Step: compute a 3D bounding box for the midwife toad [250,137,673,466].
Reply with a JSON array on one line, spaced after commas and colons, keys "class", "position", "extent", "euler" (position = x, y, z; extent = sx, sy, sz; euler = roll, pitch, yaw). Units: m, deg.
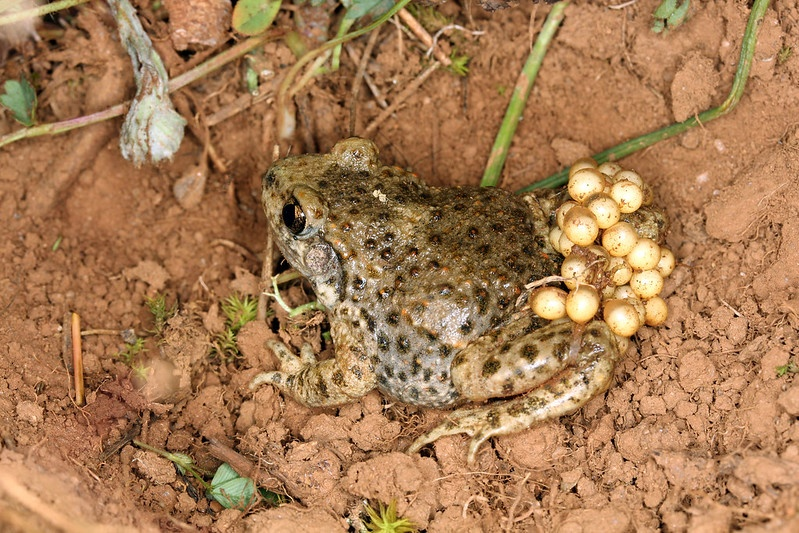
[{"class": "midwife toad", "position": [0.380, 0.028, 4.823], "extent": [2.665, 1.063, 2.550], "euler": [7, 53, 18]}]

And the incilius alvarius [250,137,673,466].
[{"class": "incilius alvarius", "position": [0.277, 0.062, 4.842], "extent": [2.771, 1.067, 2.569], "euler": [5, 48, 4]}]
